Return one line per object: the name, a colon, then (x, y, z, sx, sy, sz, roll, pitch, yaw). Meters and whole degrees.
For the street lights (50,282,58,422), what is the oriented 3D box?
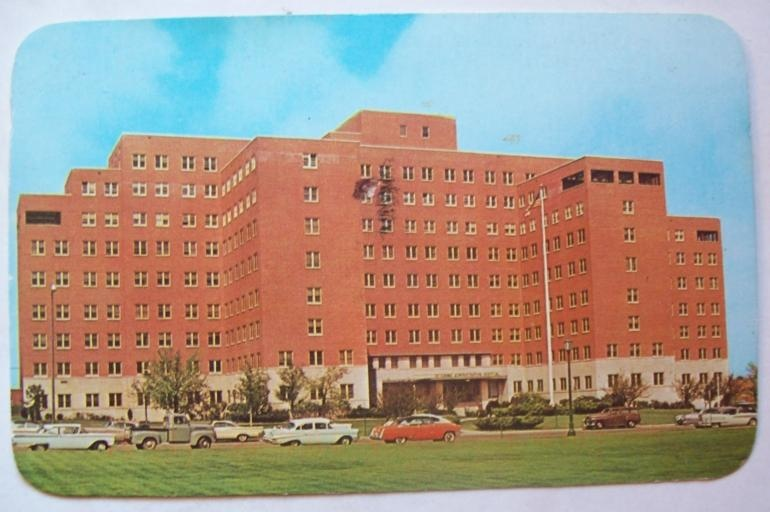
street lights: (-10.765, 3.089, 39.907, 0.242, 3.631, 0.446, 1, 0, -15)

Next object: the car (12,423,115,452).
car: (-10.276, 5.823, 38.709, 3.648, 1.071, 1.833, 3, -8, -16)

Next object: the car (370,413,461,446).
car: (1.053, 5.769, 39.754, 3.849, 0.979, 2.032, 0, -1, -6)

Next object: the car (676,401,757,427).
car: (10.956, 5.244, 40.462, 2.518, 0.790, 0.658, 1, 0, 30)
